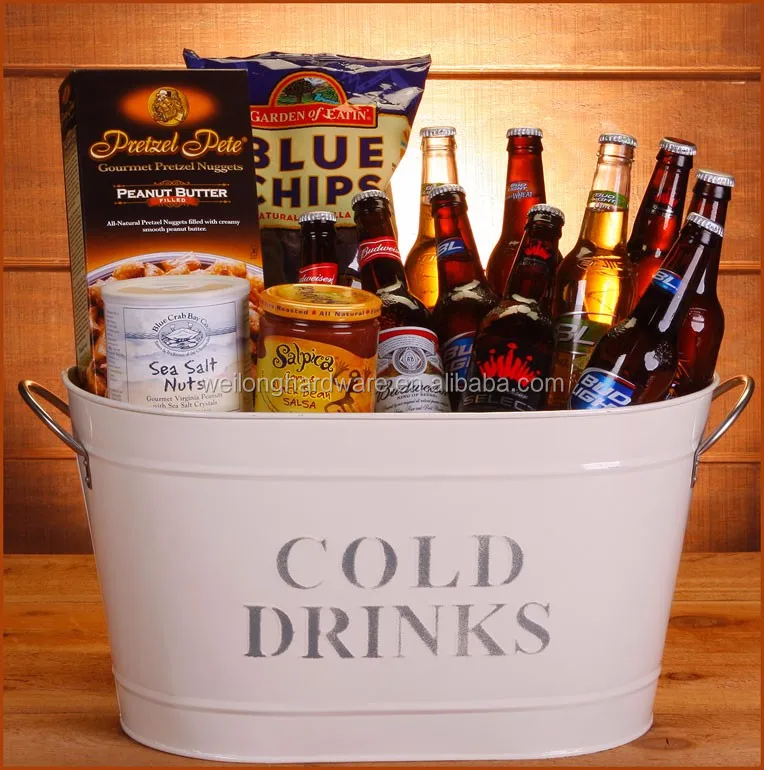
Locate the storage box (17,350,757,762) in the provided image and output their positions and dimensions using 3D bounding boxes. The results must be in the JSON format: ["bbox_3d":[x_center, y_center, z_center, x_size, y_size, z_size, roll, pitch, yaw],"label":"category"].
[{"bbox_3d":[0.015,0.192,0.993,0.697,0.404,0.210,-2,21,-10],"label":"storage box"}]

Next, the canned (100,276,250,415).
[{"bbox_3d":[-0.186,-0.046,0.946,0.159,0.130,0.142,-6,14,-27],"label":"canned"}]

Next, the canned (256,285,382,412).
[{"bbox_3d":[-0.064,-0.035,0.925,0.119,0.116,0.118,1,18,0],"label":"canned"}]
